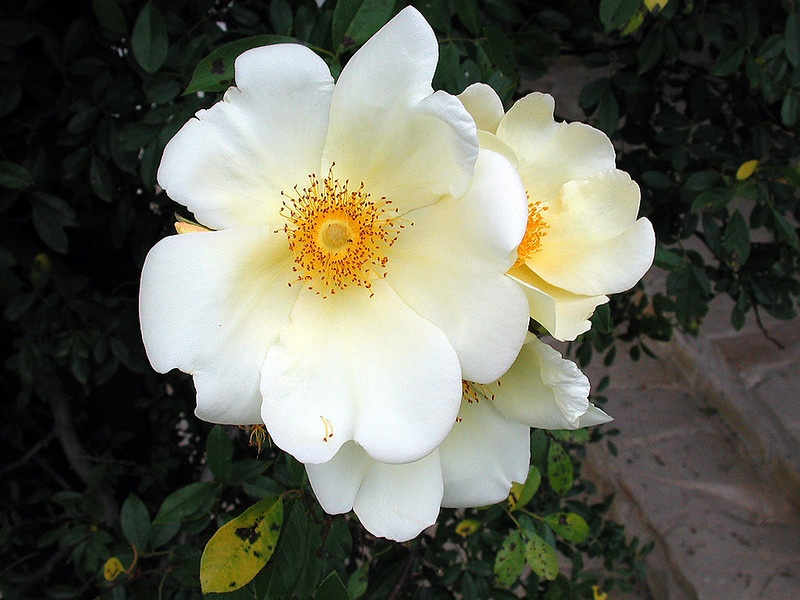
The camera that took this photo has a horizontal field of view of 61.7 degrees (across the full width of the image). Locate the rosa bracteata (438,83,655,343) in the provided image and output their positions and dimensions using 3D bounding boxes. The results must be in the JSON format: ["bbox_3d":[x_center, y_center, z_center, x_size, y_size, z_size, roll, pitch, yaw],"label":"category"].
[{"bbox_3d":[0.288,-0.142,1.312,0.363,0.164,0.438,-18,81,-1],"label":"rosa bracteata"}]

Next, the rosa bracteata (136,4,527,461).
[{"bbox_3d":[-0.114,-0.063,1.089,0.650,0.174,0.698,-23,86,-6],"label":"rosa bracteata"}]
